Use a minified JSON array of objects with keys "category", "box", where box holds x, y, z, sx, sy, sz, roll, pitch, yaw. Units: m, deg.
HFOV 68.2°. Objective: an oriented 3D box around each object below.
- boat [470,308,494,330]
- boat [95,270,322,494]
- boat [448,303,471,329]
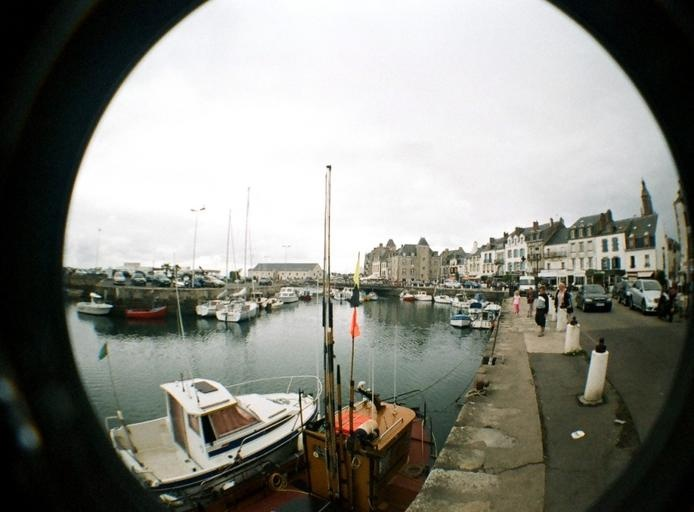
[{"category":"boat","box":[7.819,3.725,29.340,0.897,0.944,3.006,1,-1,14]},{"category":"boat","box":[-2.523,3.133,10.191,2.533,3.613,3.919,14,22,39]},{"category":"boat","box":[7.364,4.115,33.229,1.236,1.212,4.415,-4,-13,7]}]
